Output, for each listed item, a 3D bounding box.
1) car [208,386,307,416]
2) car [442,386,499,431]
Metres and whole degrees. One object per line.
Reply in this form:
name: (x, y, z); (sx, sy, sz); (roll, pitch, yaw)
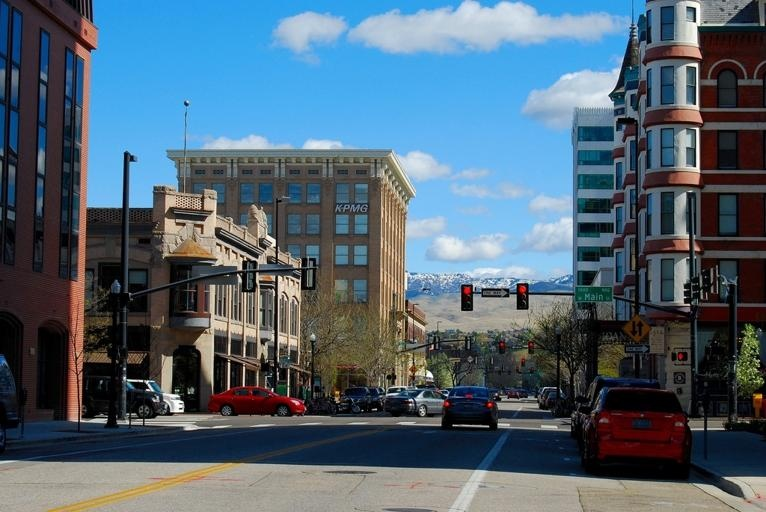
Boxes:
car: (-7.573, 8.654, 75.737); (5.197, 1.677, 1.382); (0, -11, 2)
car: (4.235, 7.345, 62.011); (2.408, 2.237, 4.172); (-1, -11, 8)
